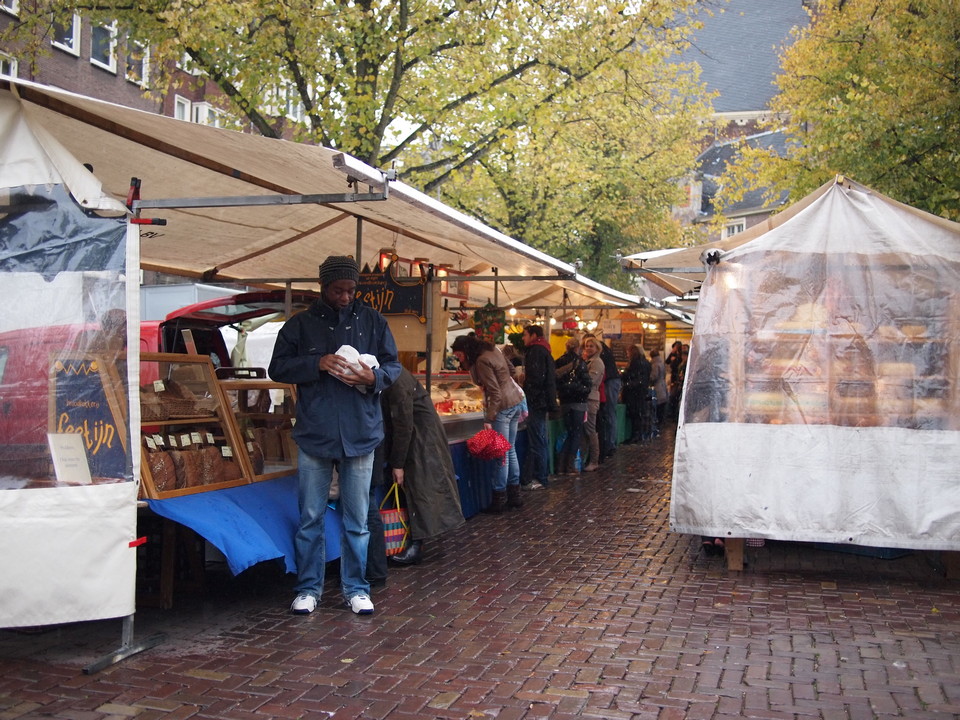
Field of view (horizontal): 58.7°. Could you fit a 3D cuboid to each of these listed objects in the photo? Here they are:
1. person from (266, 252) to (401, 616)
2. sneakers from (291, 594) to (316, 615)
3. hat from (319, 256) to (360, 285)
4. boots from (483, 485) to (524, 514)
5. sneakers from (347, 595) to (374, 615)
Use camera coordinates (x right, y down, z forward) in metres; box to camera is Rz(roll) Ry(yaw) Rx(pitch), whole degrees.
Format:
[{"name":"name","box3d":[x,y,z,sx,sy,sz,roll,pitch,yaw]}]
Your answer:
[{"name":"person","box3d":[-1.023,0.504,6.075,0.901,2.499,0.500,1,1,-6]},{"name":"sneakers","box3d":[-1.200,1.690,5.929,0.142,0.122,0.170,1,1,7]},{"name":"hat","box3d":[-0.968,-0.630,6.027,0.262,0.160,0.199,-8,-1,-14]},{"name":"boots","box3d":[0.309,1.644,10.054,0.359,0.236,0.262,4,5,22]},{"name":"sneakers","box3d":[-0.805,1.694,5.970,0.190,0.122,0.216,1,1,-8]}]
